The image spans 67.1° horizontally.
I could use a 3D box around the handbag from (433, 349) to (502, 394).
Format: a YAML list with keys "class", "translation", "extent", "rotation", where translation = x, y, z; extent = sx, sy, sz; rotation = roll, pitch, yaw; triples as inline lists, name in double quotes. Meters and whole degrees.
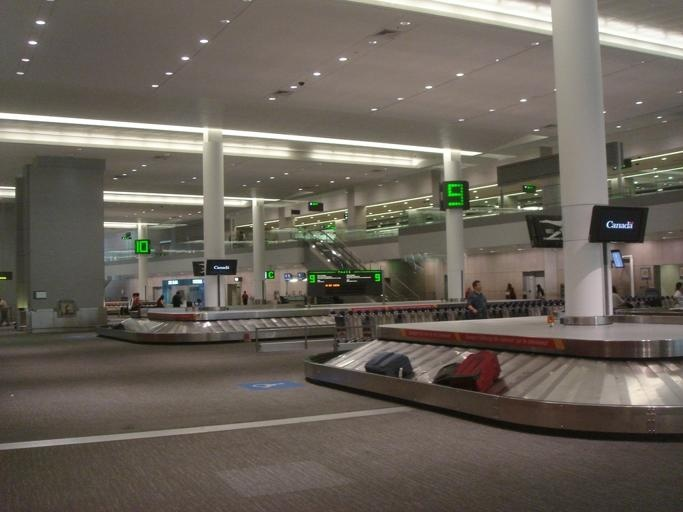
- class: "handbag"
  translation: [1.665, 1.556, 6.837]
  extent: [0.603, 0.240, 0.593]
  rotation: [-8, 6, 23]

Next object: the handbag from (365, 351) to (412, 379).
- class: "handbag"
  translation: [0.771, 1.755, 8.268]
  extent: [0.610, 0.381, 0.829]
  rotation: [-3, 0, -41]

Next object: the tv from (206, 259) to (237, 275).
- class: "tv"
  translation: [-4.700, 0.436, 20.303]
  extent: [0.894, 0.671, 1.193]
  rotation: [-3, 0, 26]
